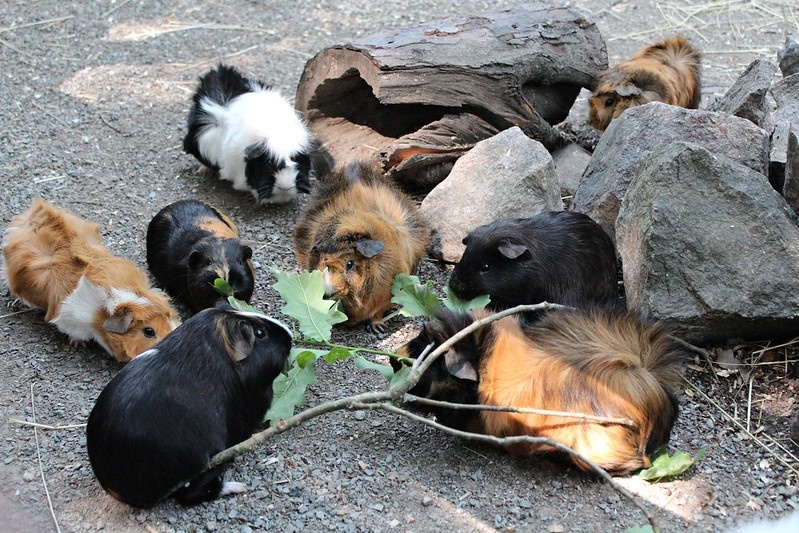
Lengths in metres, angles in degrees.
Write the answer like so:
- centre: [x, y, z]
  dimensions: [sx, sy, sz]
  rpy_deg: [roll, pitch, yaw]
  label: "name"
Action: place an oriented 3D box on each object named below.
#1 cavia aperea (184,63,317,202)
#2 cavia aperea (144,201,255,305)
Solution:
- centre: [-1.310, -1.169, 7.241]
  dimensions: [1.281, 0.721, 0.921]
  rpy_deg: [27, 46, 22]
  label: "cavia aperea"
- centre: [-1.521, -0.132, 6.013]
  dimensions: [0.584, 0.519, 0.943]
  rpy_deg: [-25, 51, -17]
  label: "cavia aperea"
